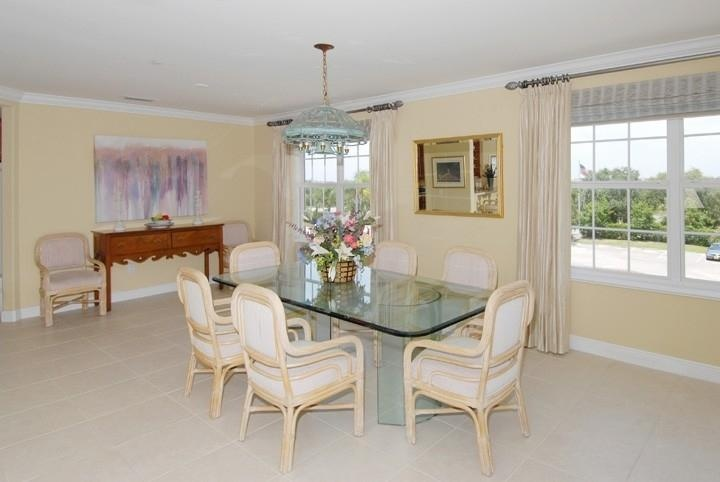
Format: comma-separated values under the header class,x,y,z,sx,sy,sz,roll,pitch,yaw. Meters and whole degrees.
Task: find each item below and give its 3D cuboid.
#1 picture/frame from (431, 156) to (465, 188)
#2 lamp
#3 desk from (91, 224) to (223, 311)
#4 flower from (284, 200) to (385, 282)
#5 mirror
class,x,y,z,sx,sy,sz,roll,pitch,yaw
picture/frame,1.168,-0.908,6.267,0.421,0.373,0.030,5,11,38
lamp,-0.359,-1.433,4.881,0.927,1.056,0.928,1,8,3
desk,-3.007,0.356,6.896,0.365,0.778,1.252,2,4,39
flower,-0.295,0.003,5.028,0.774,0.588,0.821,-2,0,-21
mirror,1.313,-0.855,6.180,1.106,0.940,0.038,5,9,39
